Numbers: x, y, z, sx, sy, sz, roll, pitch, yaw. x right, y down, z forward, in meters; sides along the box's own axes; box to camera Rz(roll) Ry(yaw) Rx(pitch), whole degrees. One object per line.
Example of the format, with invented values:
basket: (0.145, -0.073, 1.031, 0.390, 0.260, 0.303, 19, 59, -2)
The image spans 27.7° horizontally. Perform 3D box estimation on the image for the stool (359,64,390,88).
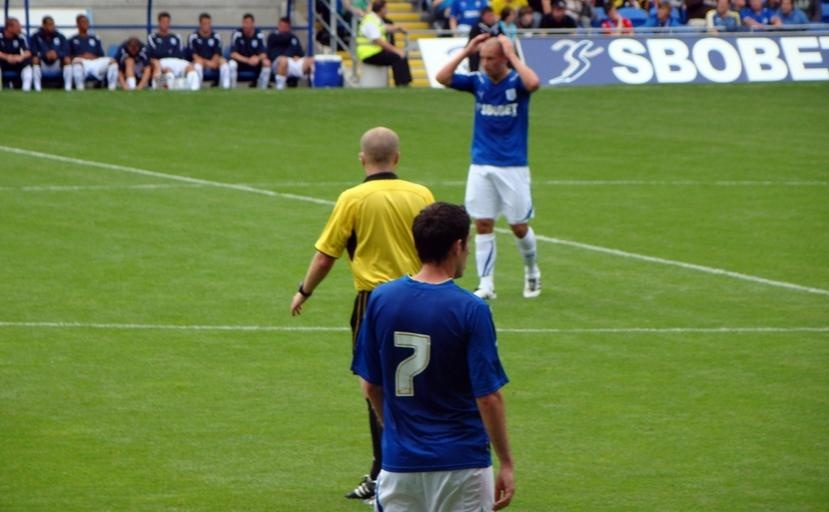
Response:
stool: (-0.856, -4.025, 38.273, 0.580, 0.515, 0.549, 0, 1, -23)

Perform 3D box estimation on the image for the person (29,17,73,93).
person: (-7.816, -4.383, 36.731, 0.975, 1.566, 0.663, -3, 8, -33)

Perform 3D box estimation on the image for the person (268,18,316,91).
person: (-2.770, -4.559, 38.558, 1.257, 1.708, 1.147, -2, 1, 43)

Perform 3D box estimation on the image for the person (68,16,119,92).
person: (-6.982, -4.428, 37.080, 1.049, 1.574, 1.560, -4, 11, -18)

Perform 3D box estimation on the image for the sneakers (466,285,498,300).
sneakers: (1.123, 0.601, 26.808, 0.475, 0.183, 0.164, 5, 2, -13)

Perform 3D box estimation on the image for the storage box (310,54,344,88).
storage box: (-1.941, -4.243, 38.647, 0.731, 0.710, 0.687, -4, 14, -22)

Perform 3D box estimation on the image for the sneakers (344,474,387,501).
sneakers: (-0.649, 3.208, 23.132, 0.655, 0.264, 0.207, 1, 0, 9)

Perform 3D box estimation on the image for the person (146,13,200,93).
person: (-5.281, -4.508, 37.432, 1.121, 1.628, 0.400, 0, 7, -12)

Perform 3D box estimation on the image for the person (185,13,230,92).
person: (-4.578, -4.494, 37.943, 0.962, 1.755, 0.999, -5, 14, -20)
